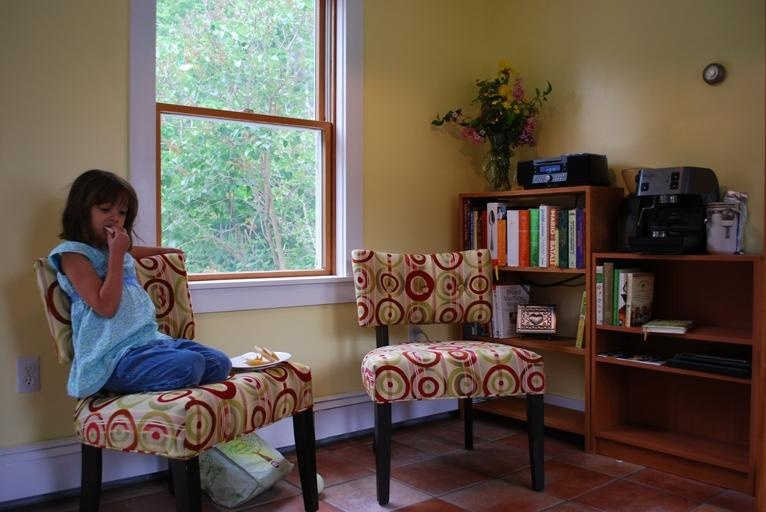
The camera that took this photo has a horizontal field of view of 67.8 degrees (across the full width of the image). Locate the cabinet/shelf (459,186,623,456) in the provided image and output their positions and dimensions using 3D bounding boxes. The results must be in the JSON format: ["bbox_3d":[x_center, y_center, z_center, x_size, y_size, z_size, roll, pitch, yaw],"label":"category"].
[{"bbox_3d":[1.011,0.372,3.408,0.550,1.477,0.918,-1,3,-33],"label":"cabinet/shelf"}]

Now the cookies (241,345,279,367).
[{"bbox_3d":[-0.559,0.456,2.550,0.108,0.042,0.110,2,-4,27],"label":"cookies"}]

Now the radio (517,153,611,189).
[{"bbox_3d":[1.058,-0.483,3.379,0.257,0.171,0.486,-4,5,-34],"label":"radio"}]

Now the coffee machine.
[{"bbox_3d":[1.497,-0.230,2.931,0.382,0.433,0.187,5,9,31],"label":"coffee machine"}]

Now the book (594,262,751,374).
[{"bbox_3d":[1.549,0.322,3.022,0.621,0.564,0.206,-1,-2,36],"label":"book"}]

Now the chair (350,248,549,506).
[{"bbox_3d":[0.301,0.543,2.939,0.884,1.124,0.691,-1,8,-9],"label":"chair"}]

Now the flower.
[{"bbox_3d":[0.692,-0.813,3.655,0.638,0.773,0.461,-5,9,-37],"label":"flower"}]

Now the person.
[{"bbox_3d":[-1.049,0.098,2.586,0.702,0.932,0.709,2,4,3],"label":"person"}]

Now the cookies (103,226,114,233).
[{"bbox_3d":[-1.157,-0.106,2.408,0.038,0.028,0.014,34,66,22],"label":"cookies"}]

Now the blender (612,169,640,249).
[{"bbox_3d":[1.356,-0.272,3.160,0.189,0.434,0.182,-22,26,-38],"label":"blender"}]
